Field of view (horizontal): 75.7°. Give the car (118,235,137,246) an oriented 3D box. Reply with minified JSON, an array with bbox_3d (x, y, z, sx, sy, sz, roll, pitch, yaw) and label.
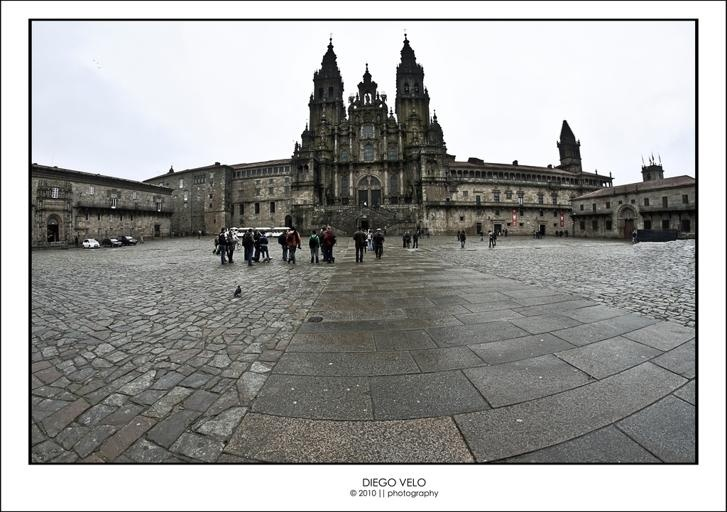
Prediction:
[{"bbox_3d":[-19.524,-1.212,38.560,1.169,1.105,2.105,1,7,-13],"label":"car"}]

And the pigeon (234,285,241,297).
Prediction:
[{"bbox_3d":[-2.592,0.731,9.602,0.196,0.191,0.147,-16,-12,35],"label":"pigeon"}]

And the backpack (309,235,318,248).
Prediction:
[{"bbox_3d":[-1.594,-0.482,15.172,0.289,0.415,0.585,-1,7,-7],"label":"backpack"}]

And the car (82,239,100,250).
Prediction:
[{"bbox_3d":[-19.333,-0.793,32.938,1.829,0.884,0.876,-3,-1,31],"label":"car"}]
